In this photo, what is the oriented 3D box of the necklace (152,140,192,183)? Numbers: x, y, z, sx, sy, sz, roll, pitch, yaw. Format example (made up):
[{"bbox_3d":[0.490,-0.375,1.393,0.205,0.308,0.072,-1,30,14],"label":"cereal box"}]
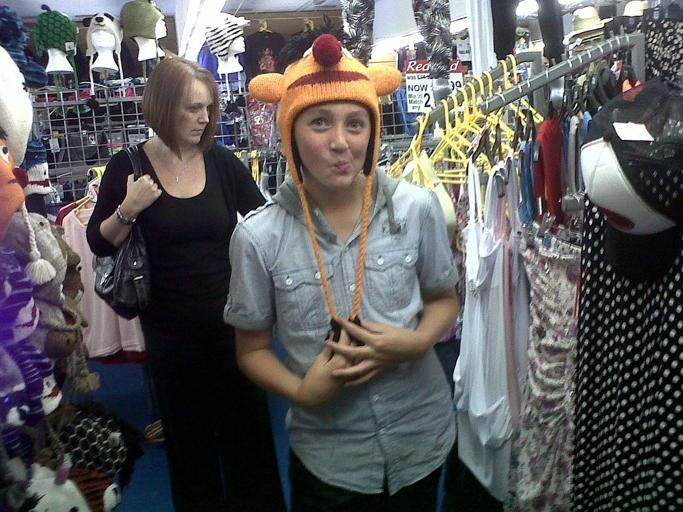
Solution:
[{"bbox_3d":[-0.752,-0.435,1.979,0.144,0.223,0.062,-18,8,-12],"label":"necklace"}]

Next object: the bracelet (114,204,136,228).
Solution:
[{"bbox_3d":[-0.884,-0.168,1.832,0.067,0.083,0.026,17,52,4],"label":"bracelet"}]

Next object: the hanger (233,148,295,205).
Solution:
[{"bbox_3d":[-0.577,-0.673,3.358,0.515,0.288,0.696,-5,20,-22],"label":"hanger"}]

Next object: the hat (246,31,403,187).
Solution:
[{"bbox_3d":[-0.021,-0.383,1.171,0.420,0.326,0.261,-6,8,-12],"label":"hat"}]
